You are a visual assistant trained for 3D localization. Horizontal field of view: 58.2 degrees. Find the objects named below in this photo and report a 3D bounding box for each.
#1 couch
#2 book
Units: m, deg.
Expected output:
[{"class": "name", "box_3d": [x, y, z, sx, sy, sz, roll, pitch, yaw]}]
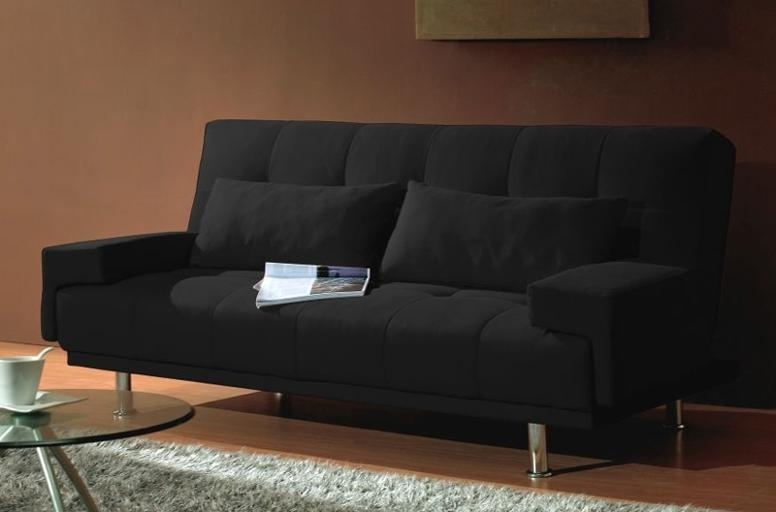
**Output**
[{"class": "couch", "box_3d": [-0.058, 0.001, 3.312, 2.915, 0.977, 1.249, 5, 23, 31]}, {"class": "book", "box_3d": [-0.312, 0.116, 3.020, 0.469, 0.062, 0.320, 1, 23, 9]}]
